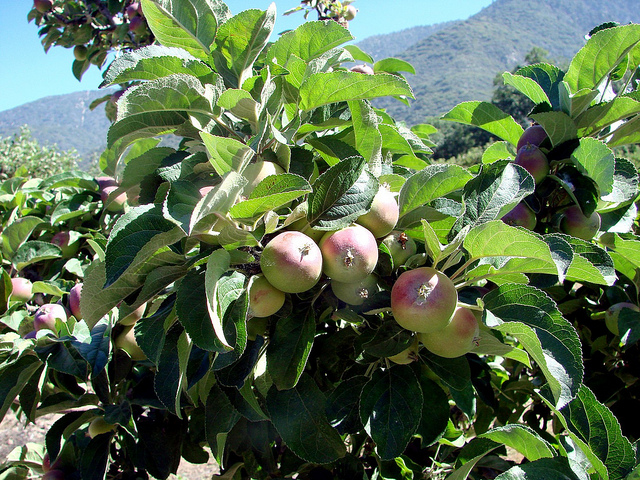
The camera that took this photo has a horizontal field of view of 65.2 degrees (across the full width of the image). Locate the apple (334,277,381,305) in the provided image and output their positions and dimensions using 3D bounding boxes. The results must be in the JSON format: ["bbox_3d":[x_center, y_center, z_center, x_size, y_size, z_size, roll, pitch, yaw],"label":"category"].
[{"bbox_3d":[0.147,0.193,1.924,0.135,0.122,0.122,-8,-12,-1],"label":"apple"}]

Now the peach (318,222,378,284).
[{"bbox_3d":[0.108,0.035,1.948,0.191,0.204,0.232,-12,12,6],"label":"peach"}]

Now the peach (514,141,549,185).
[{"bbox_3d":[1.088,-0.385,2.552,0.160,0.227,0.151,-32,14,-24],"label":"peach"}]

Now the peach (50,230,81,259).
[{"bbox_3d":[-1.661,0.033,3.328,0.177,0.165,0.125,-31,32,-24],"label":"peach"}]

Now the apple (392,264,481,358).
[{"bbox_3d":[0.476,0.269,2.013,0.202,0.280,0.366,-35,-10,14],"label":"apple"}]

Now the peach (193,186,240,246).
[{"bbox_3d":[-0.391,-0.097,1.917,0.172,0.166,0.296,-15,29,2],"label":"peach"}]

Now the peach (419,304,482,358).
[{"bbox_3d":[0.505,0.349,2.008,0.190,0.229,0.209,-22,47,48],"label":"peach"}]

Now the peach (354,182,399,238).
[{"bbox_3d":[0.224,-0.121,2.039,0.126,0.210,0.152,4,12,-10],"label":"peach"}]

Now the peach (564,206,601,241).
[{"bbox_3d":[1.293,-0.069,2.481,0.137,0.185,0.142,2,66,34],"label":"peach"}]

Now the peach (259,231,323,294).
[{"bbox_3d":[-0.101,0.081,1.906,0.195,0.207,0.205,-32,-12,18],"label":"peach"}]

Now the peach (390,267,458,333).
[{"bbox_3d":[0.390,0.226,1.851,0.226,0.240,0.236,2,4,16],"label":"peach"}]

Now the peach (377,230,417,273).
[{"bbox_3d":[0.313,0.049,2.051,0.128,0.175,0.102,-2,5,-34],"label":"peach"}]
